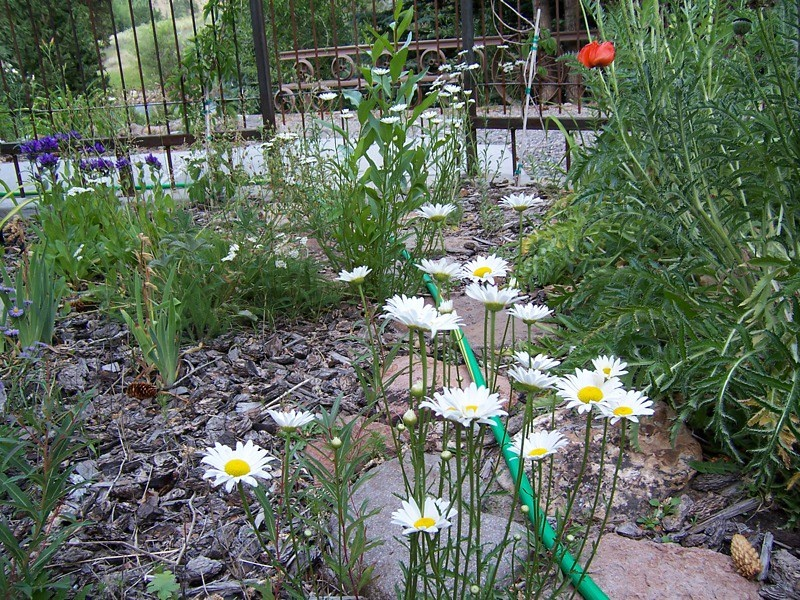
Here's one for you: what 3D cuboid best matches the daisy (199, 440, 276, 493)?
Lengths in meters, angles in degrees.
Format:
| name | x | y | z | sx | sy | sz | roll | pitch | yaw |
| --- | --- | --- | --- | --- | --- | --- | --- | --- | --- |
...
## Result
| name | x | y | z | sx | sy | sz | roll | pitch | yaw |
| --- | --- | --- | --- | --- | --- | --- | --- | --- | --- |
| daisy | -0.330 | 0.336 | 1.221 | 0.174 | 0.036 | 0.177 | 10 | 0 | 42 |

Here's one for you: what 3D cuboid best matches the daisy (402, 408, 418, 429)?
| name | x | y | z | sx | sy | sz | roll | pitch | yaw |
| --- | --- | --- | --- | --- | --- | --- | --- | --- | --- |
| daisy | 0.019 | 0.242 | 1.256 | 0.033 | 0.044 | 0.034 | -1 | 7 | -21 |

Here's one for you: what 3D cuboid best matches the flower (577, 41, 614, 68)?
| name | x | y | z | sx | sy | sz | roll | pitch | yaw |
| --- | --- | --- | --- | --- | --- | --- | --- | --- | --- |
| flower | 0.728 | -0.902 | 2.215 | 0.109 | 0.097 | 0.188 | 3 | 18 | 22 |

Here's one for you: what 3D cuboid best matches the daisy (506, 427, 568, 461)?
| name | x | y | z | sx | sy | sz | roll | pitch | yaw |
| --- | --- | --- | --- | --- | --- | --- | --- | --- | --- |
| daisy | 0.309 | 0.333 | 1.317 | 0.095 | 0.043 | 0.101 | -4 | 22 | 31 |
